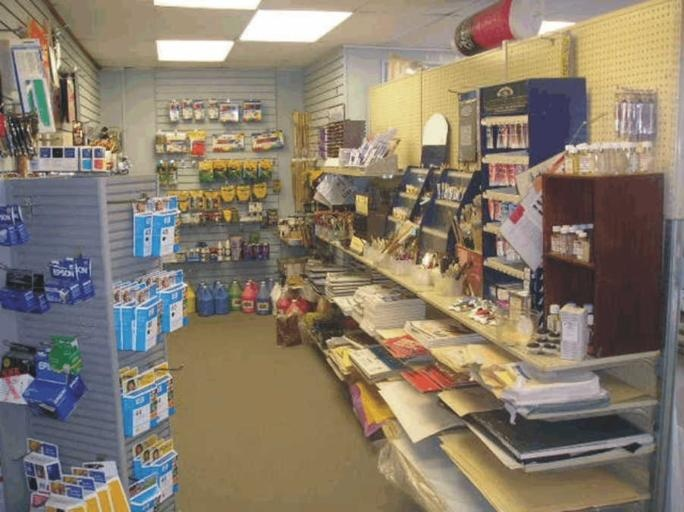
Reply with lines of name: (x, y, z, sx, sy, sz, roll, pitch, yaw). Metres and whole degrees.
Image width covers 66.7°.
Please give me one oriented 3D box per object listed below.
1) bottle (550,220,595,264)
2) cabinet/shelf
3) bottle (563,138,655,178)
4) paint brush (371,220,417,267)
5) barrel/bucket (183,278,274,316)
bottle: (1.262, -0.068, 2.852, 0.142, 0.240, 0.247, -3, 4, -42)
cabinet/shelf: (1.106, 0.179, 3.241, 0.891, 2.463, 1.451, -7, 13, -23)
bottle: (1.435, -0.522, 2.785, 0.460, 0.168, 0.279, 4, 13, 21)
paint brush: (0.509, -0.103, 5.086, 0.147, 0.113, 0.482, 11, -39, -27)
barrel/bucket: (-1.858, 0.678, 8.625, 1.321, 0.506, 0.785, -3, 12, -7)
